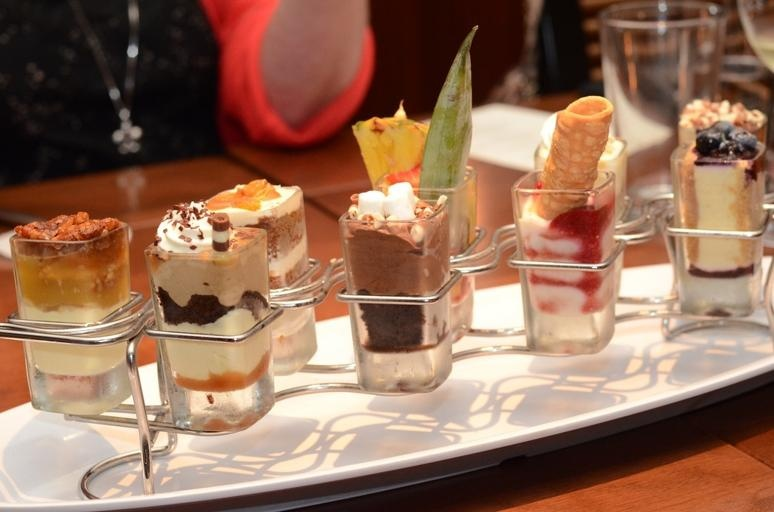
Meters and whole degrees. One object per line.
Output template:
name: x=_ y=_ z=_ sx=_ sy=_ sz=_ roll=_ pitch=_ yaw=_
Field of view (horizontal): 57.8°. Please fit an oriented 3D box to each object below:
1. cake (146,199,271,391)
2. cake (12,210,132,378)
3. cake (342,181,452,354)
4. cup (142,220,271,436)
cake: x=-0.196 y=0.045 z=0.792 sx=0.119 sy=0.197 sz=0.102 roll=1 pitch=22 yaw=13
cake: x=-0.372 y=0.044 z=0.830 sx=0.114 sy=0.177 sz=0.102 roll=3 pitch=23 yaw=19
cake: x=0.025 y=0.008 z=0.834 sx=0.103 sy=0.190 sz=0.140 roll=12 pitch=27 yaw=36
cup: x=-0.190 y=0.092 z=0.825 sx=0.159 sy=0.184 sz=0.141 roll=-4 pitch=1 yaw=-20
